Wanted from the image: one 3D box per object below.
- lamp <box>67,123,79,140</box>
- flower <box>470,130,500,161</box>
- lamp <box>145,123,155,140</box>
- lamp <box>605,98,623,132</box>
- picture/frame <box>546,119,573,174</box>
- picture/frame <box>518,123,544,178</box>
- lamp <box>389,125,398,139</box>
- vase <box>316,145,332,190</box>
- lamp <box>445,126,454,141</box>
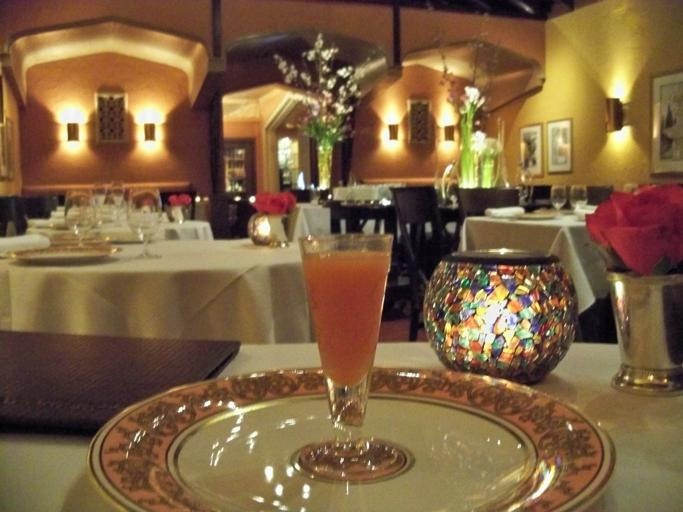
[{"bbox_3d":[-4.790,-2.199,9.474,0.208,0.311,0.138,-7,10,-28],"label":"lamp"},{"bbox_3d":[1.174,-0.899,4.359,0.171,0.166,0.366,-3,8,-4],"label":"flower"},{"bbox_3d":[-3.558,-2.291,9.852,0.194,0.315,0.145,-5,9,-21],"label":"lamp"},{"bbox_3d":[4.041,-2.087,7.848,0.241,0.482,0.177,3,10,30],"label":"lamp"},{"bbox_3d":[3.737,-1.863,9.108,0.023,0.848,0.586,-10,12,-21],"label":"picture/frame"},{"bbox_3d":[3.476,-1.918,9.729,0.257,0.968,0.765,-4,9,-14],"label":"picture/frame"},{"bbox_3d":[1.072,-2.502,10.734,0.206,0.307,0.117,-3,9,-5],"label":"lamp"},{"bbox_3d":[-0.198,-1.083,6.490,0.160,0.529,0.518,-2,8,-2],"label":"vase"},{"bbox_3d":[2.238,-2.538,11.036,0.194,0.304,0.110,-2,9,1],"label":"lamp"}]
